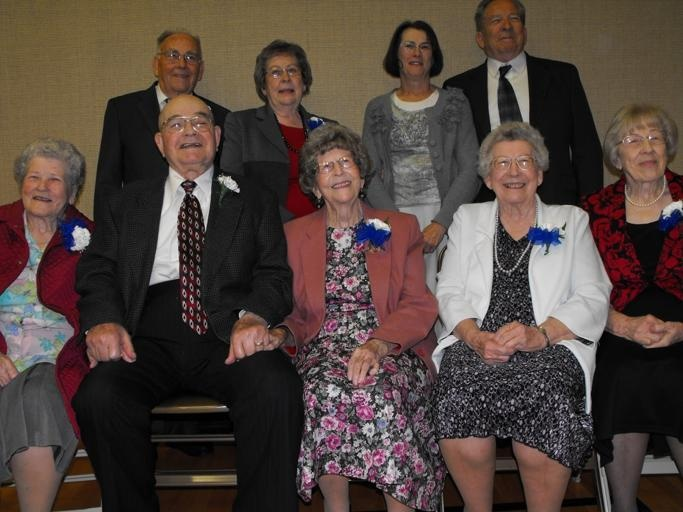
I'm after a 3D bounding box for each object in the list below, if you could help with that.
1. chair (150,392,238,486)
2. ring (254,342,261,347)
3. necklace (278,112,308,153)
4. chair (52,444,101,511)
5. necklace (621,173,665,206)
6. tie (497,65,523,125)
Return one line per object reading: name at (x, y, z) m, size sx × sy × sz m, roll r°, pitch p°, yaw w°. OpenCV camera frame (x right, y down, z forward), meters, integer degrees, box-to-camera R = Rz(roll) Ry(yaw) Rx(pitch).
chair at (-0.744, 0.921, 3.238) m, size 0.390 × 0.466 × 0.402 m, roll -7°, pitch 13°, yaw -12°
ring at (-0.405, 0.422, 3.112) m, size 0.036 × 0.032 × 0.013 m, roll -4°, pitch 13°, yaw -3°
necklace at (-0.320, -0.784, 4.127) m, size 0.217 × 0.065 × 0.354 m, roll -5°, pitch 42°, yaw 1°
chair at (-1.491, 1.274, 3.693) m, size 0.264 × 0.163 × 0.373 m, roll -2°, pitch -3°, yaw 2°
necklace at (1.690, -0.380, 3.574) m, size 0.198 × 0.188 × 0.045 m, roll 1°, pitch 11°, yaw 15°
tie at (1.128, -1.069, 4.351) m, size 0.153 × 0.526 × 0.057 m, roll 1°, pitch -26°, yaw 3°
